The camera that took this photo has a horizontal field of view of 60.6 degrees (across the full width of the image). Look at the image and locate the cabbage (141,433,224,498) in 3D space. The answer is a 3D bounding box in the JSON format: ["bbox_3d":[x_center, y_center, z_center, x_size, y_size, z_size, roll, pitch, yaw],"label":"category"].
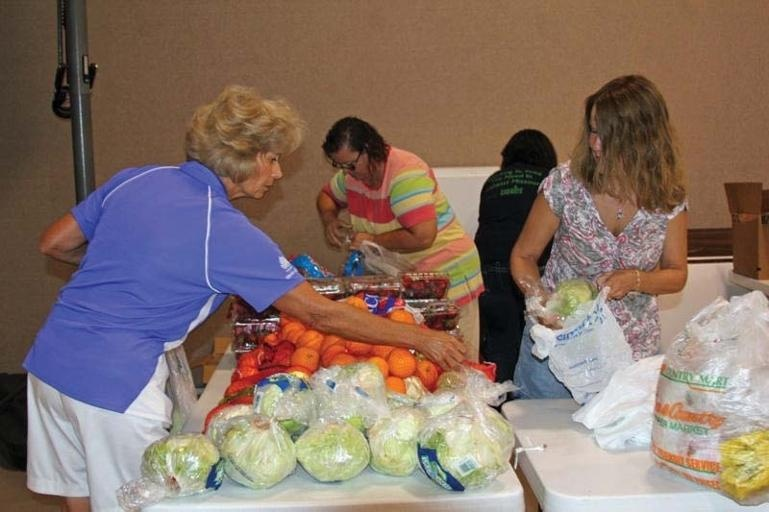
[{"bbox_3d":[-0.663,0.669,2.147,0.261,0.184,0.304,3,-8,5],"label":"cabbage"}]

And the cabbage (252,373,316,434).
[{"bbox_3d":[-0.339,0.484,2.218,0.130,0.166,0.163,-4,20,18],"label":"cabbage"}]

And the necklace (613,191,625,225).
[{"bbox_3d":[0.989,-0.201,2.784,0.049,0.155,0.040,3,8,12],"label":"necklace"}]

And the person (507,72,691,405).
[{"bbox_3d":[0.890,-0.054,2.779,0.728,1.393,0.556,-1,-2,23],"label":"person"}]

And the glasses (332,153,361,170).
[{"bbox_3d":[-0.186,-0.505,3.560,0.100,0.032,0.103,-2,30,44],"label":"glasses"}]

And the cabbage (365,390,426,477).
[{"bbox_3d":[0.044,0.568,2.132,0.187,0.210,0.196,-2,13,17],"label":"cabbage"}]

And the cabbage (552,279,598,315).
[{"bbox_3d":[0.766,0.150,2.584,0.142,0.092,0.156,-7,35,36],"label":"cabbage"}]

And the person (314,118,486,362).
[{"bbox_3d":[0.088,0.065,3.988,0.881,1.894,0.770,-7,19,0],"label":"person"}]

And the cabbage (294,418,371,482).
[{"bbox_3d":[-0.185,0.630,2.163,0.246,0.163,0.200,8,0,-9],"label":"cabbage"}]

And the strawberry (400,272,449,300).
[{"bbox_3d":[0.178,0.134,2.998,0.165,0.124,0.064,2,-37,-3],"label":"strawberry"}]
